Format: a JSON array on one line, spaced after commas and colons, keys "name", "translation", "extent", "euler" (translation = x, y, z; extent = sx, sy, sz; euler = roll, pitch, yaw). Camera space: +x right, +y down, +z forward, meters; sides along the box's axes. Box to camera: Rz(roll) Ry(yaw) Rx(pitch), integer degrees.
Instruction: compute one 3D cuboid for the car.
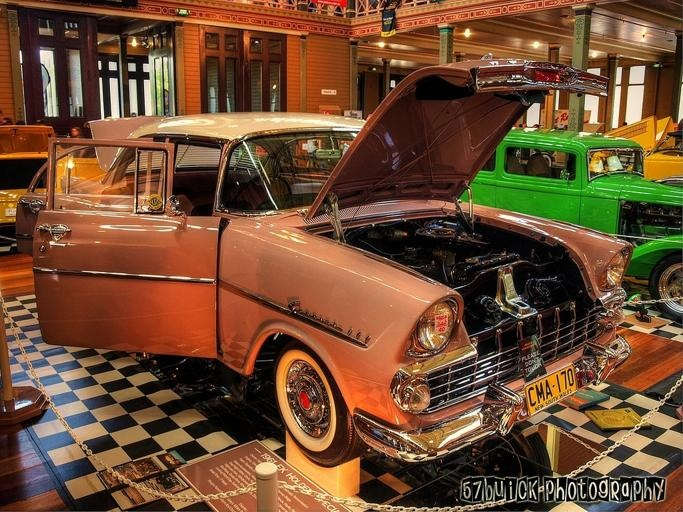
[{"name": "car", "translation": [-0.624, 0.090, 3.532], "extent": [2.629, 1.420, 3.872], "euler": [-7, 12, -44]}]
